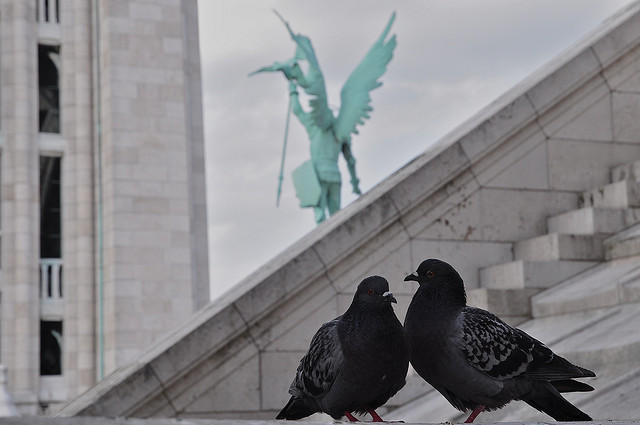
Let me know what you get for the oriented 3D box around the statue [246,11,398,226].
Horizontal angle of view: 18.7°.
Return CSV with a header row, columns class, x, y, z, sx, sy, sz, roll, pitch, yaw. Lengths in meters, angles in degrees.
class,x,y,z,sx,sy,sz,roll,pitch,yaw
statue,0.207,-1.790,37.049,1.888,3.648,2.432,-13,-20,-10
